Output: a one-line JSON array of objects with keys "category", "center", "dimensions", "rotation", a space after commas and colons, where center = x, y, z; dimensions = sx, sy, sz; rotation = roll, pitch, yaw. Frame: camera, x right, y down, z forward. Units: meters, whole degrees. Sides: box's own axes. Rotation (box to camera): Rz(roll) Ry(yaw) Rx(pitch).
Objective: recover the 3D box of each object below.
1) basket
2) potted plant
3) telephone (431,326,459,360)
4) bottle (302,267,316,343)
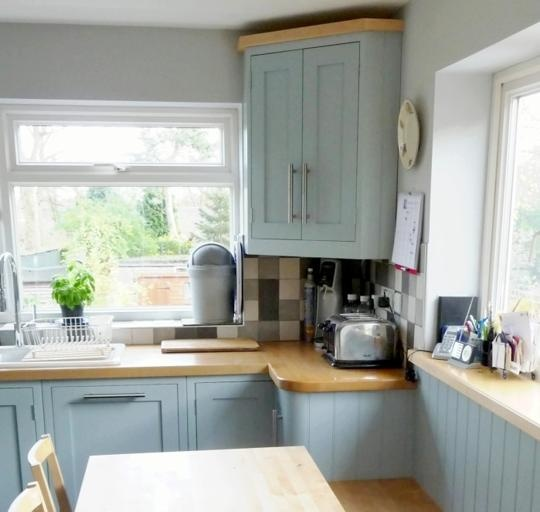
[{"category": "basket", "center": [-1.009, 0.390, 2.495], "dimensions": [0.446, 0.149, 0.403], "rotation": [-1, 8, -13]}, {"category": "potted plant", "center": [-1.016, 0.188, 2.748], "dimensions": [0.307, 0.456, 0.316], "rotation": [-1, -1, -23]}, {"category": "telephone", "center": [0.701, 0.350, 2.030], "dimensions": [0.043, 0.134, 0.094], "rotation": [24, -12, -36]}, {"category": "bottle", "center": [0.225, 0.269, 2.782], "dimensions": [0.062, 0.396, 0.090], "rotation": [1, 9, 6]}]
